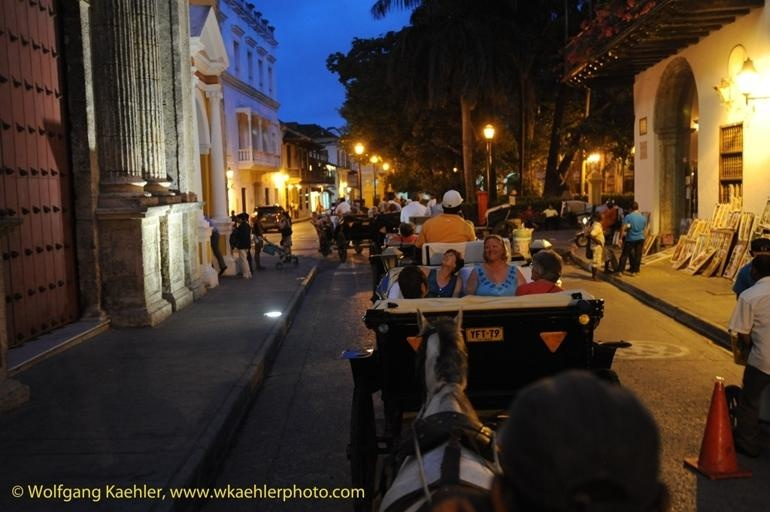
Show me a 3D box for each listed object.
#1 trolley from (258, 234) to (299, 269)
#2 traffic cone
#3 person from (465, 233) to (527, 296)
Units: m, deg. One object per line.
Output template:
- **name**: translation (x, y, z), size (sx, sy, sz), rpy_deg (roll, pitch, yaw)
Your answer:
- **trolley**: translation (-3.893, -0.047, 22.995), size (1.120, 0.762, 2.132), rpy_deg (21, 2, 39)
- **traffic cone**: translation (3.267, 1.641, 5.769), size (0.690, 0.840, 0.655), rpy_deg (5, -4, -40)
- **person**: translation (1.323, 0.166, 7.033), size (0.768, 0.849, 0.431), rpy_deg (-3, -7, 9)
